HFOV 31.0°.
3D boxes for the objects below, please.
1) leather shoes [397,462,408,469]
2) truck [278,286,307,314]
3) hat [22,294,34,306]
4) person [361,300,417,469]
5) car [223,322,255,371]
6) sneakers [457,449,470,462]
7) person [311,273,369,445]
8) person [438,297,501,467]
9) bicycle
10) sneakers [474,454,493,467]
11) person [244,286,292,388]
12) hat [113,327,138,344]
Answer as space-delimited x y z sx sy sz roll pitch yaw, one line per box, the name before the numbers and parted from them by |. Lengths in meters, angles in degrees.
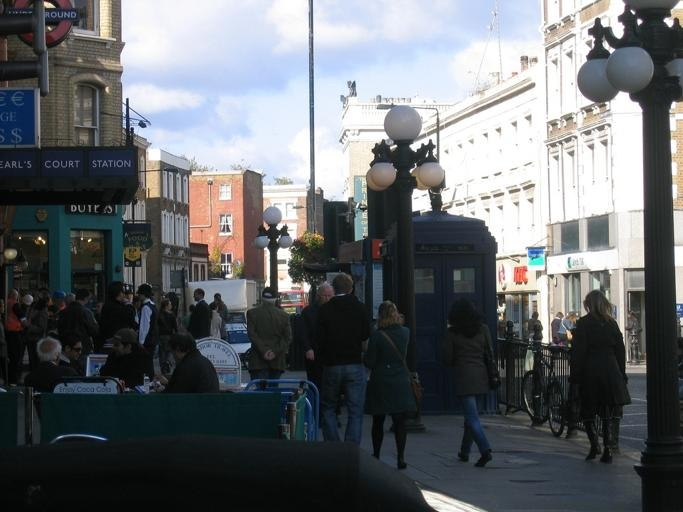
leather shoes | 0.795 2.714 15.947 0.107 0.122 0.071 0 3 -3
truck | -2.723 2.520 69.757 1.705 1.900 3.061 -1 -9 -2
hat | -7.263 1.056 28.465 0.229 0.317 0.329 4 -3 -25
person | 0.650 1.702 16.194 0.654 2.183 0.557 -1 -4 3
car | -3.072 2.565 35.942 0.871 1.176 1.927 -3 10 -12
sneakers | 1.654 2.730 16.719 0.064 0.095 0.192 0 4 -12
person | 0.023 1.356 16.437 0.722 2.254 0.509 -1 -4 0
person | 1.745 1.688 16.522 0.705 2.239 0.414 -2 -4 11
bicycle | 3.262 2.105 19.661 0.854 1.208 2.071 1 1 -8
sneakers | 1.899 2.699 16.258 0.107 0.140 0.327 -7 -25 -35
person | -1.186 1.589 19.356 0.636 2.115 0.765 8 -16 -29
hat | -2.809 1.057 16.006 0.247 0.144 0.189 7 0 5
